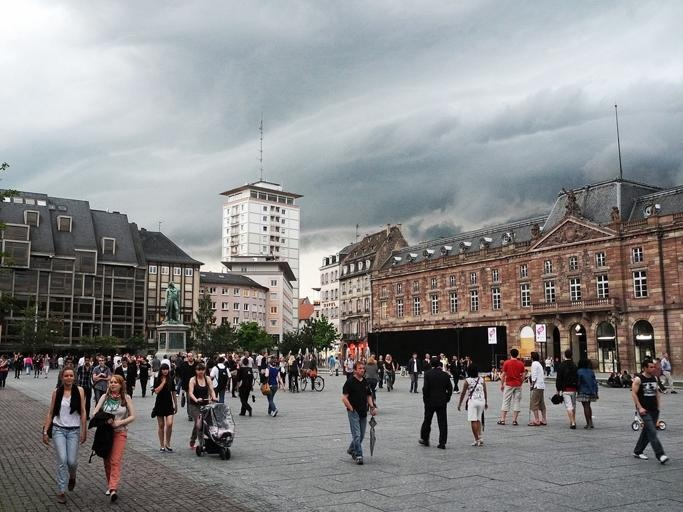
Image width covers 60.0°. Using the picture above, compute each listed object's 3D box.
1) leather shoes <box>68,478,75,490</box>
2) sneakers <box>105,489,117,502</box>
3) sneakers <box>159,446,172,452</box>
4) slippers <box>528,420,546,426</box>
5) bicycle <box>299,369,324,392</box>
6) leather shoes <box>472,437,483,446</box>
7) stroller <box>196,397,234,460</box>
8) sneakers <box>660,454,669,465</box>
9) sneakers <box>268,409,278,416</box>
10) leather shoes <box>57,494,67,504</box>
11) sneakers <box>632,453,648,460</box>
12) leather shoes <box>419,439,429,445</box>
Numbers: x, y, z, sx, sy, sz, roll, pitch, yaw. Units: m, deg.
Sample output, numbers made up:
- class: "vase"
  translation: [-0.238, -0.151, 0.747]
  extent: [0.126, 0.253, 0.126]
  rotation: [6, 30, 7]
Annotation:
- class: "leather shoes"
  translation: [-4.677, 3.972, 10.243]
  extent: [0.087, 0.259, 0.080]
  rotation: [0, -52, -11]
- class: "sneakers"
  translation: [-3.801, 3.958, 9.761]
  extent: [0.123, 0.163, 0.372]
  rotation: [3, -12, -21]
- class: "sneakers"
  translation: [-4.185, 4.604, 14.112]
  extent: [0.272, 0.117, 0.104]
  rotation: [7, -6, 3]
- class: "slippers"
  translation: [6.168, 5.268, 18.541]
  extent: [0.567, 0.158, 0.225]
  rotation: [4, -13, -6]
- class: "bicycle"
  translation: [-1.832, 7.832, 37.060]
  extent: [1.005, 1.297, 2.026]
  rotation: [3, -4, -38]
- class: "leather shoes"
  translation: [3.410, 4.616, 14.699]
  extent: [0.128, 0.253, 0.372]
  rotation: [2, -1, -8]
- class: "stroller"
  translation: [-2.703, 4.063, 13.809]
  extent: [0.765, 1.262, 1.213]
  rotation: [6, -16, -27]
- class: "sneakers"
  translation: [6.605, 4.170, 12.091]
  extent: [0.085, 0.124, 0.291]
  rotation: [-7, -32, -8]
- class: "sneakers"
  translation: [-2.480, 5.704, 21.568]
  extent: [0.173, 0.218, 0.487]
  rotation: [-1, -7, -15]
- class: "leather shoes"
  translation: [-4.596, 4.006, 9.736]
  extent: [0.109, 0.092, 0.214]
  rotation: [22, -26, -13]
- class: "sneakers"
  translation: [6.501, 4.346, 12.811]
  extent: [0.327, 0.139, 0.119]
  rotation: [-4, -6, 41]
- class: "leather shoes"
  translation: [2.033, 4.608, 14.538]
  extent: [0.098, 0.120, 0.269]
  rotation: [11, 8, -28]
